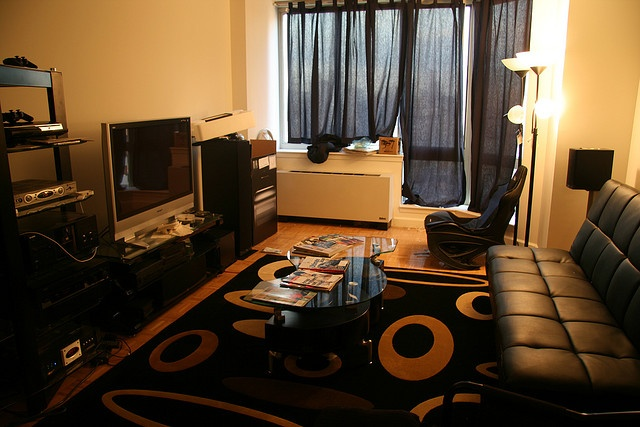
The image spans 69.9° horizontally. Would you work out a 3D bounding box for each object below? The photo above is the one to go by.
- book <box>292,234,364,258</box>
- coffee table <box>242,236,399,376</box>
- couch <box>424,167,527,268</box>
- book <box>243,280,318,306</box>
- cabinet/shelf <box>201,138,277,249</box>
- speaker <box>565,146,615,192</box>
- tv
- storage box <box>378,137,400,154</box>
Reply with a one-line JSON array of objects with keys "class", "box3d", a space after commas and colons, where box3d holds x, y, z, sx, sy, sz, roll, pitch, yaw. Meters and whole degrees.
[{"class": "book", "box3d": [0.073, 0.285, 4.185, 0.268, 0.052, 0.388, 5, 12, 32]}, {"class": "coffee table", "box3d": [0.038, 0.760, 3.338, 0.687, 0.318, 1.241, 2, 15, 11]}, {"class": "couch", "box3d": [1.735, 0.062, 5.189, 1.225, 1.190, 0.877, 2, 9, 7]}, {"class": "book", "box3d": [-0.266, 0.590, 3.386, 0.284, 0.012, 0.322, 6, 14, 18]}, {"class": "cabinet/shelf", "box3d": [-0.907, -0.231, 5.000, 0.414, 1.112, 1.174, 0, 10, 9]}, {"class": "speaker", "box3d": [2.650, -0.438, 4.478, 0.484, 0.548, 0.284, 1, 7, 7]}, {"class": "tv", "box3d": [-1.500, -0.267, 3.936, 0.231, 0.937, 1.122, 4, 13, 15]}, {"class": "storage box", "box3d": [0.919, -0.897, 6.054, 0.237, 0.232, 0.178, 2, 5, 15]}]
